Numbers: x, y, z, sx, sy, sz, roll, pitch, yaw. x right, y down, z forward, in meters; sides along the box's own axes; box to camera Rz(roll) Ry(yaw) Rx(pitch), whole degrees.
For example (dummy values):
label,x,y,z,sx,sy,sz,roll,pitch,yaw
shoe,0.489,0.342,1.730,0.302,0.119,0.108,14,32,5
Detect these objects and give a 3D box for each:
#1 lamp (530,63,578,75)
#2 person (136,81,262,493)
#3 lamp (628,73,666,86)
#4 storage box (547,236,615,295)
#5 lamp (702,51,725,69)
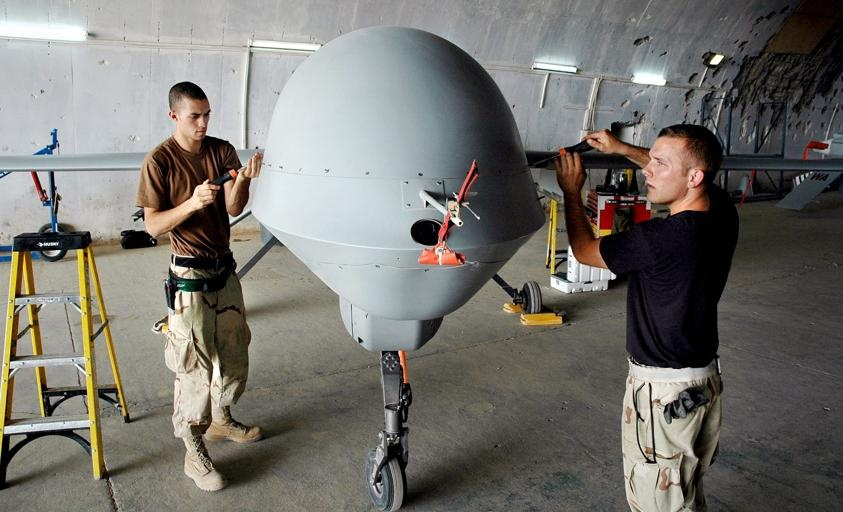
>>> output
label,x,y,z,sx,sy,sz,roll,pitch,yaw
lamp,2.981,-4.175,13.164,0.496,0.109,0.466,3,8,-9
person,-2.004,0.273,5.468,0.948,3.625,1.164,-6,17,-24
lamp,5.595,-4.358,14.503,1.292,0.327,0.190,-2,17,-35
storage box,2.426,0.182,9.173,0.756,0.690,0.545,0,11,-40
lamp,7.523,-5.032,15.150,0.485,0.420,0.111,3,14,-8
